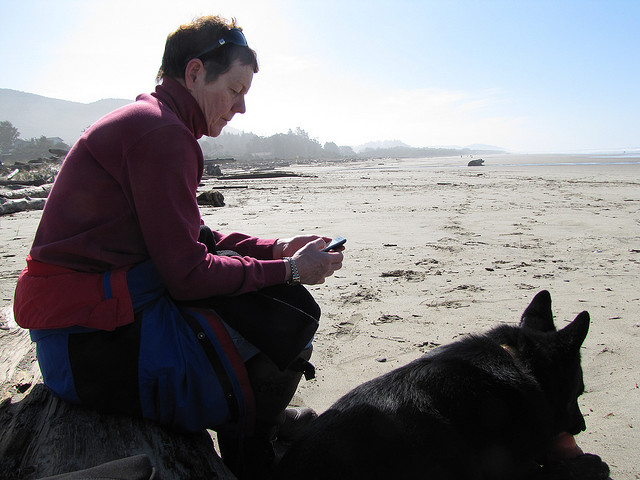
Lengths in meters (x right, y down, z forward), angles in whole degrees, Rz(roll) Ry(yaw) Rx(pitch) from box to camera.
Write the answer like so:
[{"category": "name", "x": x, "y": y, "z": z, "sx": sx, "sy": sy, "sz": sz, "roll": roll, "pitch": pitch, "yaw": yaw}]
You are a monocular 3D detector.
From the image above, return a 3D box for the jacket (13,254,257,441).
[{"category": "jacket", "x": -0.926, "y": 0.536, "z": 2.272, "sx": 0.818, "sy": 0.504, "sz": 1.129, "roll": -7, "pitch": -12, "yaw": 21}]

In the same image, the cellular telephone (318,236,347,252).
[{"category": "cellular telephone", "x": 0.061, "y": 0.025, "z": 2.354, "sx": 0.087, "sy": 0.057, "sz": 0.170, "roll": 10, "pitch": 12, "yaw": 38}]

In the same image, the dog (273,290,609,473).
[{"category": "dog", "x": 0.516, "y": 0.572, "z": 1.658, "sx": 1.148, "sy": 0.677, "sz": 0.363, "roll": 3, "pitch": 10, "yaw": -3}]
